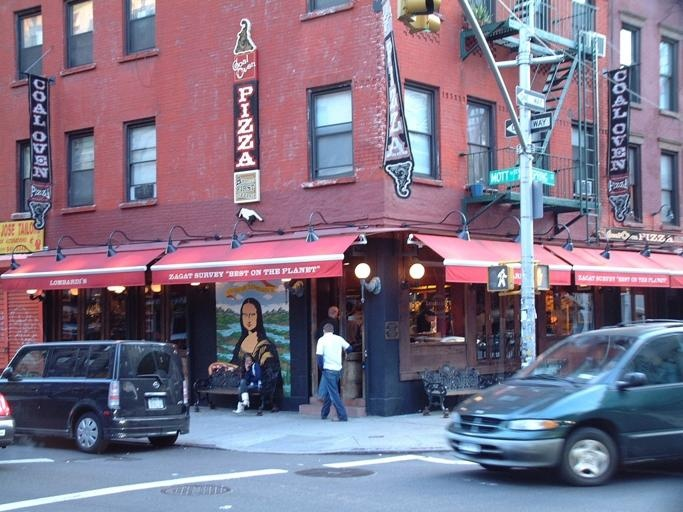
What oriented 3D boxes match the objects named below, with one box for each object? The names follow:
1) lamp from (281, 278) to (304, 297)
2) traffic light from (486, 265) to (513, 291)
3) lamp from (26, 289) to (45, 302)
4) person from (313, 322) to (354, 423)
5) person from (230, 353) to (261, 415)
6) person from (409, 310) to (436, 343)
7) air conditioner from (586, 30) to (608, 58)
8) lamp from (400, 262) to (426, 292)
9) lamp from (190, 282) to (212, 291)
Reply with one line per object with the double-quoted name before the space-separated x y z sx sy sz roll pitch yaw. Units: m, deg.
"lamp" -1.200 0.738 19.879 0.501 0.628 0.471 4 -6 -43
"traffic light" 3.192 0.415 16.322 0.540 0.527 0.209 -2 -3 45
"lamp" -9.163 1.153 24.167 0.637 0.344 0.376 -8 -10 29
"person" -0.190 2.573 18.419 0.669 2.244 0.926 -3 -9 0
"person" -2.254 3.083 19.748 0.690 1.382 0.399 -5 -9 11
"person" 1.965 1.667 19.485 0.652 0.939 0.796 5 -8 -24
"air conditioner" 6.767 -5.640 21.450 0.222 0.810 0.870 -4 10 20
"lamp" 1.761 0.432 19.141 0.541 0.685 0.813 -8 -10 27
"lamp" -3.689 0.798 21.400 0.715 0.239 0.180 -9 -11 32
